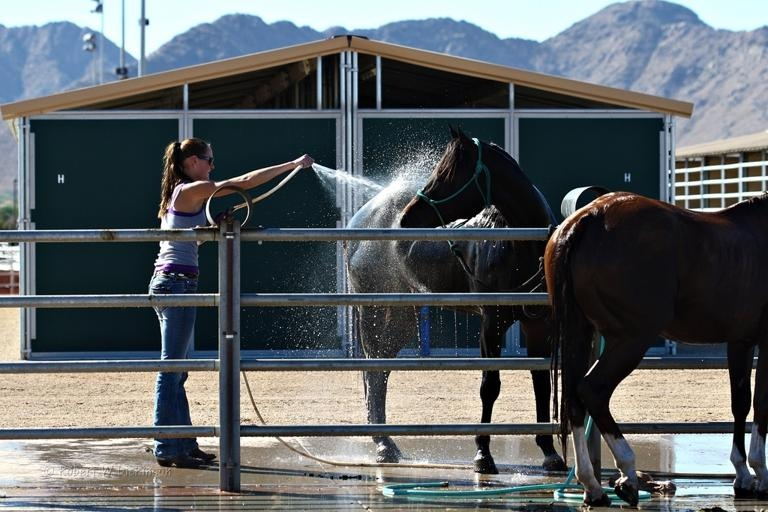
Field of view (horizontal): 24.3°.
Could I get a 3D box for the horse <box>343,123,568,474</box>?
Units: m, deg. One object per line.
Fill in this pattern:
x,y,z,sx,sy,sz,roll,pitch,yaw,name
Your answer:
1.037,0.457,25.283,3.495,4.520,1.472,10,15,37,horse
